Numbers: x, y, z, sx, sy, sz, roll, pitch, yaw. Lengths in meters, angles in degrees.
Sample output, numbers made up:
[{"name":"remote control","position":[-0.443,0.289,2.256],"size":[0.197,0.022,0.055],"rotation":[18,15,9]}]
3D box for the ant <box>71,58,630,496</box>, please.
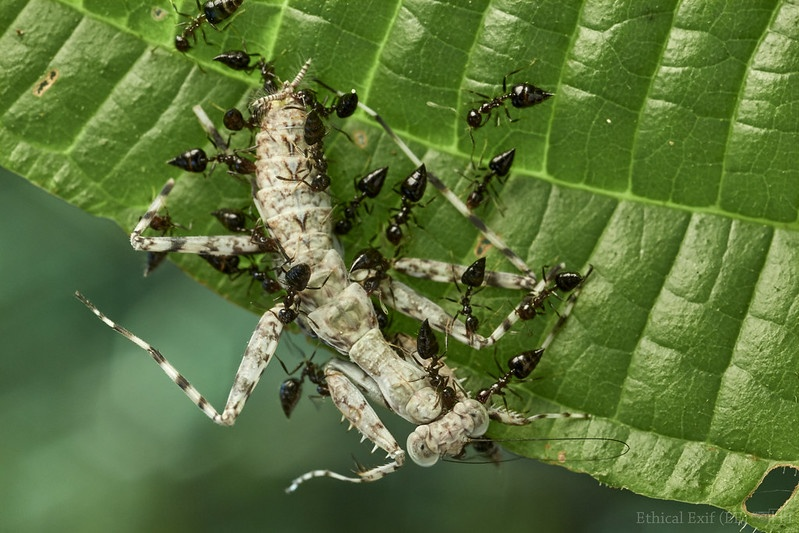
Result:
[{"name":"ant","position":[-1.091,0.447,13.131],"size":[4.880,6.341,6.698],"rotation":[1,90,-13]}]
